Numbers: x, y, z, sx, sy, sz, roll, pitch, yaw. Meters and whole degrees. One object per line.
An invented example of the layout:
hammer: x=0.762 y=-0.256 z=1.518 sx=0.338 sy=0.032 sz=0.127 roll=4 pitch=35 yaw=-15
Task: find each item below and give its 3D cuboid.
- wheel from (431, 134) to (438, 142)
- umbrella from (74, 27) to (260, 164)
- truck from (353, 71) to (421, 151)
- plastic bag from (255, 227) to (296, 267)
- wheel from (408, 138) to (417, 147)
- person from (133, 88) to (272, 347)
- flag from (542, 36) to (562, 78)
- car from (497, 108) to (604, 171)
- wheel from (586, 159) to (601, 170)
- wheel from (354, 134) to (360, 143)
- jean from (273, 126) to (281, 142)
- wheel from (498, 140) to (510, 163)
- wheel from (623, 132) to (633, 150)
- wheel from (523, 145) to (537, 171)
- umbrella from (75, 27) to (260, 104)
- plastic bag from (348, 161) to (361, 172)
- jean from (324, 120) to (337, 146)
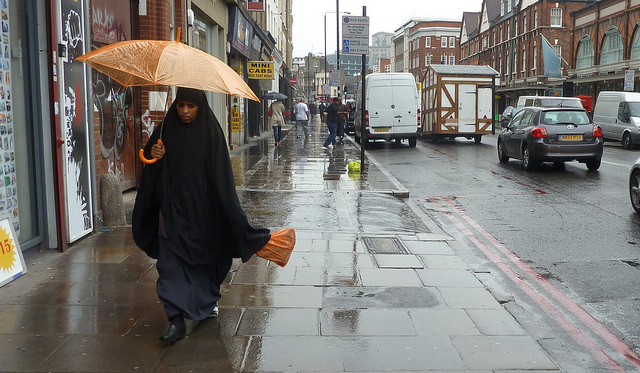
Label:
wheel: x=6.379 y=-2.760 z=27.745 sx=0.323 sy=0.417 sz=0.620 roll=5 pitch=6 yaw=18
umbrella: x=-2.089 y=-1.119 z=6.207 sx=2.062 sy=1.649 sz=2.038 roll=-1 pitch=15 yaw=-26
truck: x=3.598 y=-4.089 z=27.345 sx=3.147 sy=3.426 sz=6.651 roll=-2 pitch=6 yaw=2
plastic bag: x=-0.505 y=0.732 z=6.117 sx=0.514 sy=0.371 sz=0.272 roll=5 pitch=16 yaw=-26
wheel: x=4.754 y=-2.284 z=25.539 sx=0.340 sy=0.490 sz=0.968 roll=3 pitch=12 yaw=9
person: x=-1.425 y=0.271 z=5.605 sx=1.369 sy=2.693 sz=0.639 roll=-1 pitch=10 yaw=-11
flag: x=21.002 y=-11.522 z=45.167 sx=1.567 sy=3.122 sz=1.661 roll=5 pitch=11 yaw=22
car: x=7.626 y=-1.604 z=16.614 sx=3.040 sy=2.034 sz=1.885 roll=11 pitch=15 yaw=39
wheel: x=8.906 y=-0.734 z=16.287 sx=0.386 sy=0.364 sz=0.360 roll=1 pitch=11 yaw=0
wheel: x=2.176 y=-2.692 z=28.372 sx=0.263 sy=0.501 sz=0.265 roll=-1 pitch=0 yaw=0
jean: x=-2.112 y=-2.656 z=24.885 sx=0.298 sy=0.709 sz=0.706 roll=2 pitch=11 yaw=8
wheel: x=6.885 y=-1.335 z=18.686 sx=0.302 sy=0.823 sz=0.642 roll=3 pitch=11 yaw=10
wheel: x=15.295 y=-2.302 z=24.712 sx=0.353 sy=0.817 sz=0.877 roll=5 pitch=12 yaw=22
wheel: x=6.914 y=-0.976 z=16.425 sx=0.252 sy=0.784 sz=0.774 roll=2 pitch=5 yaw=-3
umbrella: x=-1.845 y=-1.353 z=5.735 sx=1.777 sy=0.723 sz=1.797 roll=6 pitch=1 yaw=22
plastic bag: x=1.087 y=-0.628 z=15.573 sx=0.364 sy=0.254 sz=0.405 roll=1 pitch=12 yaw=-1
jean: x=0.527 y=-2.541 z=23.776 sx=0.580 sy=1.215 sz=1.264 roll=1 pitch=11 yaw=1
